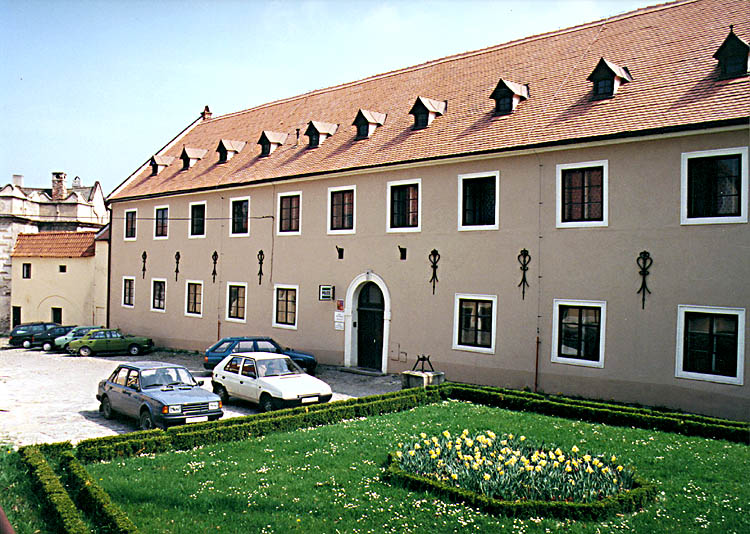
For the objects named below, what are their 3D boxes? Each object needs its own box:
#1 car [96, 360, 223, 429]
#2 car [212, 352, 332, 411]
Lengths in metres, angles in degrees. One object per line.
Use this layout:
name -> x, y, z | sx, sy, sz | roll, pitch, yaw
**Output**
car -> -7.062, 4.288, 24.412 | 4.489, 1.887, 2.255 | 5, 12, 35
car -> -3.846, 3.958, 26.304 | 1.965, 1.381, 3.373 | 1, -2, -41
